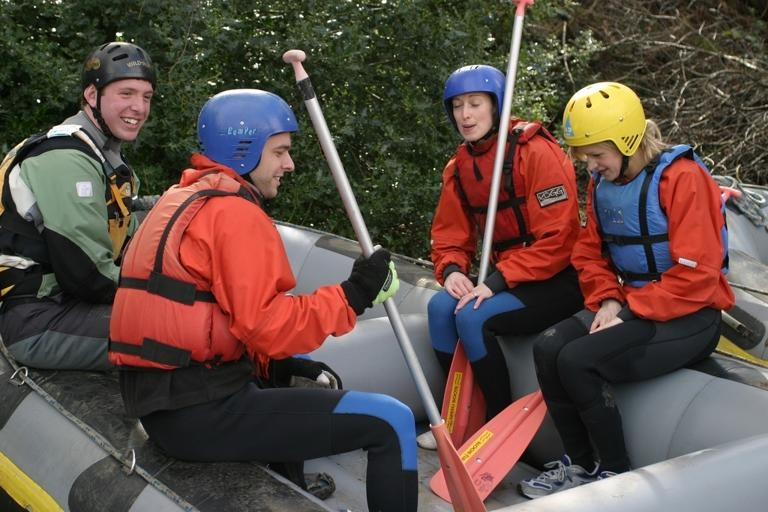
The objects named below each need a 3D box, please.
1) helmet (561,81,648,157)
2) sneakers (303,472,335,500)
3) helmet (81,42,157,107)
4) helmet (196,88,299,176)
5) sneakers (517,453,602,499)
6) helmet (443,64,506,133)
[{"bbox_3d":[1.060,-0.652,3.745,0.390,0.307,0.336,-30,25,-28],"label":"helmet"},{"bbox_3d":[-0.288,1.045,3.586,0.127,0.061,0.170,4,21,-40],"label":"sneakers"},{"bbox_3d":[-1.333,-0.930,4.012,0.430,0.329,0.325,5,4,40],"label":"helmet"},{"bbox_3d":[-0.543,-0.556,3.349,0.465,0.347,0.336,4,19,11],"label":"helmet"},{"bbox_3d":[0.814,1.023,3.678,0.424,0.194,0.176,-14,4,20],"label":"sneakers"},{"bbox_3d":[0.524,-0.863,4.265,0.271,0.266,0.347,-9,-9,29],"label":"helmet"}]
